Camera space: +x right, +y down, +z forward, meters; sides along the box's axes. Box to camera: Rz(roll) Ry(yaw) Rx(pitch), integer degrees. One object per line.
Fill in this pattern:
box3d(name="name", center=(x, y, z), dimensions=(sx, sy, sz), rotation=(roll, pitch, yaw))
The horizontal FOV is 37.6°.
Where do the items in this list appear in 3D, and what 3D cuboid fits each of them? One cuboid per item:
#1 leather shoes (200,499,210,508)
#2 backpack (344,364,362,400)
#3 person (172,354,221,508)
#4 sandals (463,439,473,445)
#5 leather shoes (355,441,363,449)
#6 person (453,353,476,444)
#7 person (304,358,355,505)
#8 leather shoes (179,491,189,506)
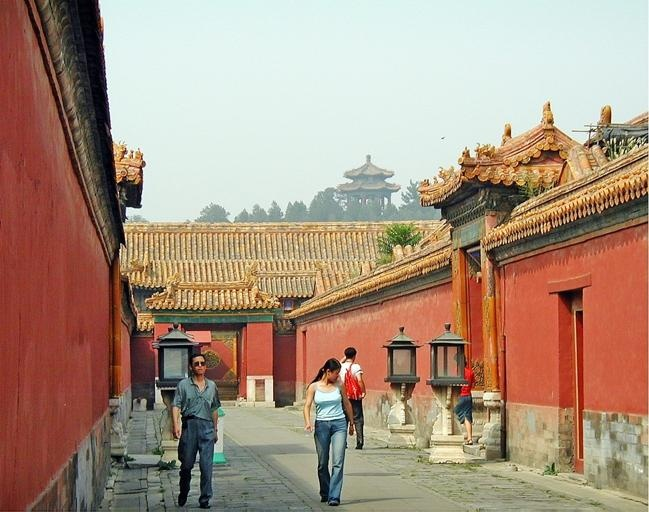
box3d(name="leather shoes", center=(-1.147, 2.374, 9.150), dimensions=(0.109, 0.078, 0.161), rotation=(2, -11, -9))
box3d(name="backpack", center=(0.416, 1.821, 14.032), dimensions=(0.204, 0.511, 0.336), rotation=(-12, 25, -11))
box3d(name="person", center=(-1.276, 1.706, 9.441), dimensions=(0.453, 1.499, 0.614), rotation=(1, -10, -8))
box3d(name="sandals", center=(2.049, 2.655, 13.619), dimensions=(0.164, 0.081, 0.060), rotation=(4, -4, -4))
box3d(name="leather shoes", center=(0.537, 2.913, 14.753), dimensions=(0.127, 0.117, 0.278), rotation=(-1, -13, -2))
box3d(name="person", center=(2.002, 2.064, 13.559), dimensions=(0.276, 1.195, 0.894), rotation=(-2, -10, 9))
box3d(name="person", center=(0.044, 1.741, 9.525), dimensions=(0.495, 1.417, 0.586), rotation=(0, -10, 2))
box3d(name="leather shoes", center=(-1.396, 2.371, 9.362), dimensions=(0.077, 0.147, 0.234), rotation=(2, -11, -10))
